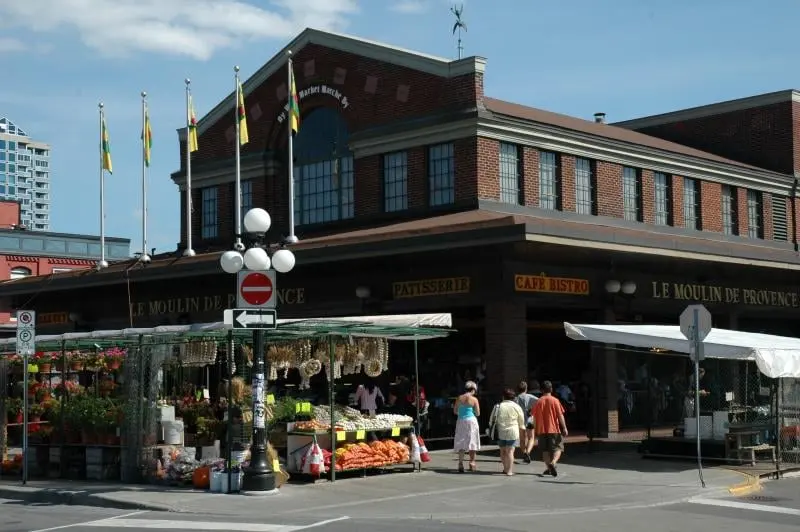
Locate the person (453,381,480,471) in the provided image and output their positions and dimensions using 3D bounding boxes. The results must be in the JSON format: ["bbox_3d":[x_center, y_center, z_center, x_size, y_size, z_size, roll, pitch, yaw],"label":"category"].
[{"bbox_3d":[2.057,4.939,40.142,1.135,2.459,0.958,-3,5,-10],"label":"person"}]

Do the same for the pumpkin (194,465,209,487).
[{"bbox_3d":[-5.774,6.096,37.968,0.759,0.638,0.523,5,-10,-26],"label":"pumpkin"}]

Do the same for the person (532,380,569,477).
[{"bbox_3d":[4.502,4.930,39.556,1.438,2.579,0.975,2,-4,-36],"label":"person"}]

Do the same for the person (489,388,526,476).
[{"bbox_3d":[3.242,5.013,39.522,1.028,2.296,1.222,1,-3,-24],"label":"person"}]

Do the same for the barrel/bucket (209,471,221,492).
[{"bbox_3d":[-5.307,6.147,37.380,0.344,0.602,0.183,-2,-12,4],"label":"barrel/bucket"}]

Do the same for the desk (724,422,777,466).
[{"bbox_3d":[11.046,5.599,41.038,0.579,0.853,1.600,-8,-10,39],"label":"desk"}]

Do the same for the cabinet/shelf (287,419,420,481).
[{"bbox_3d":[-1.313,5.460,40.109,3.385,1.729,4.137,-5,5,-7],"label":"cabinet/shelf"}]

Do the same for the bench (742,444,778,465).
[{"bbox_3d":[11.392,5.953,41.190,1.086,0.665,1.817,-3,-11,14],"label":"bench"}]

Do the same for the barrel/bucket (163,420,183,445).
[{"bbox_3d":[-6.822,4.993,39.166,0.760,0.672,0.717,0,-6,0],"label":"barrel/bucket"}]
